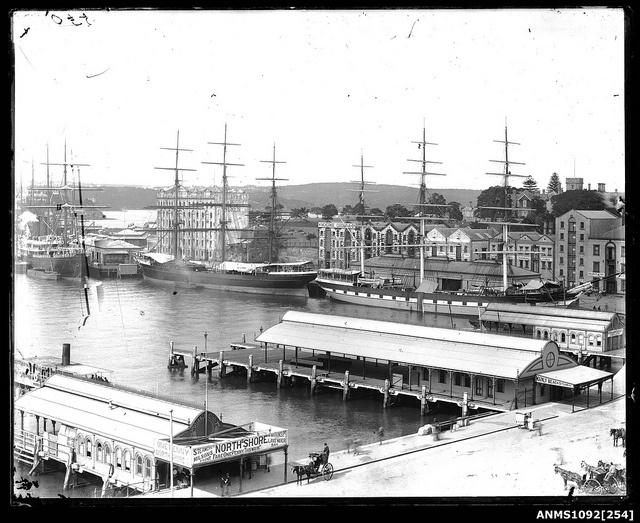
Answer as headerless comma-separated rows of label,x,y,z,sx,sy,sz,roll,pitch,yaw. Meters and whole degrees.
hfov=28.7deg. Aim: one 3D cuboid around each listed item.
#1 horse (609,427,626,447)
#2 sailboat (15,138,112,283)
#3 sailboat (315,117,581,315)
horse,4.772,2.854,19.991,0.207,0.365,0.882,-2,7,12
sailboat,-9.141,-1.002,44.242,2.240,5.127,1.537,-10,7,-30
sailboat,4.271,-0.793,43.040,9.685,5.919,4.192,3,1,24
